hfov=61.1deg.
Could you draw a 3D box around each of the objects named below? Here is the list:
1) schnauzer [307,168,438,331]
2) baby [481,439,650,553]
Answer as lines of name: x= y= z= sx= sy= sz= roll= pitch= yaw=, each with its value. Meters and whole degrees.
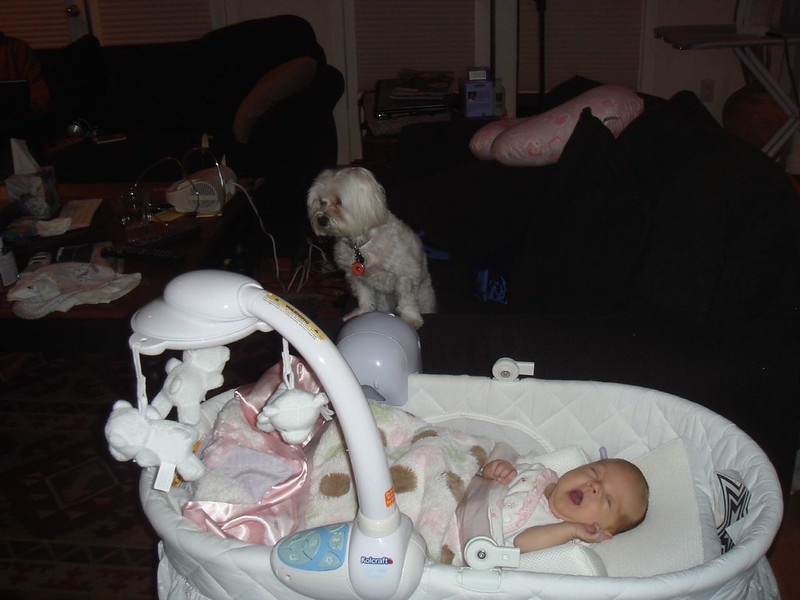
schnauzer: x=-0.088 y=-0.234 z=2.852 sx=0.361 sy=0.729 sz=0.648 roll=4 pitch=24 yaw=29
baby: x=0.487 y=0.548 z=1.887 sx=0.332 sy=0.130 sz=0.249 roll=-9 pitch=31 yaw=5
